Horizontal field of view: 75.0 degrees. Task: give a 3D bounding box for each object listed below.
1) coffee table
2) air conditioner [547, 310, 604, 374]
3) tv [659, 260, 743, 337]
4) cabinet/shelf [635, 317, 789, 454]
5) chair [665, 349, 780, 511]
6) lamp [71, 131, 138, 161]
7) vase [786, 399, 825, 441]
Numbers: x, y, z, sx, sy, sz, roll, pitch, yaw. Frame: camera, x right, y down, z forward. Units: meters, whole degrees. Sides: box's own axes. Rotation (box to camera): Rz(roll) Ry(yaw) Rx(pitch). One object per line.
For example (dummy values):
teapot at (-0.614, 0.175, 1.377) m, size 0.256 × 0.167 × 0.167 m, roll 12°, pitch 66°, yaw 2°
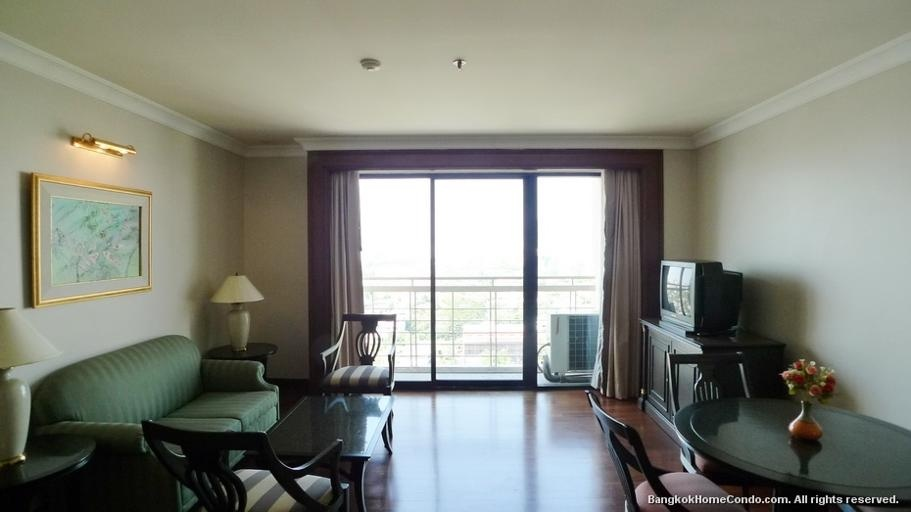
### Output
coffee table at (-1.177, 1.854, 5.523) m, size 0.899 × 0.346 × 1.387 m, roll 0°, pitch 0°, yaw -1°
air conditioner at (1.567, 1.131, 7.791) m, size 0.899 × 0.761 × 0.461 m, roll 3°, pitch -7°, yaw -15°
tv at (2.519, 0.391, 6.445) m, size 0.752 × 0.775 × 0.998 m, roll -2°, pitch 1°, yaw -12°
cabinet/shelf at (2.630, 1.493, 6.291) m, size 1.154 × 1.260 × 1.788 m, roll 1°, pitch -1°, yaw 3°
chair at (2.288, 1.479, 5.011) m, size 0.590 × 1.143 × 1.444 m, roll 2°, pitch -3°, yaw 13°
lamp at (-3.304, -1.059, 5.643) m, size 0.178 × 0.189 × 0.586 m, roll 2°, pitch 1°, yaw 35°
vase at (2.764, 1.292, 4.671) m, size 0.262 × 0.251 × 0.258 m, roll -5°, pitch 5°, yaw -43°
